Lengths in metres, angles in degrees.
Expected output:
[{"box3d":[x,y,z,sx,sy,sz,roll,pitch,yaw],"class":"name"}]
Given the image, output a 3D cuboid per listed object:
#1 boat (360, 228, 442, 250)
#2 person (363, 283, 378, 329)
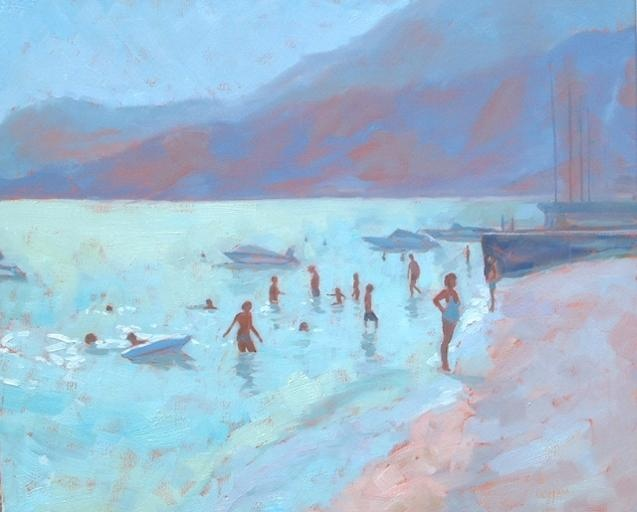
[{"box3d":[1.319,-0.205,14.322,1.198,0.393,0.319,1,-33,-8],"class":"boat"},{"box3d":[0.787,0.792,14.163,0.221,0.750,0.240,-6,-36,-1],"class":"person"}]
